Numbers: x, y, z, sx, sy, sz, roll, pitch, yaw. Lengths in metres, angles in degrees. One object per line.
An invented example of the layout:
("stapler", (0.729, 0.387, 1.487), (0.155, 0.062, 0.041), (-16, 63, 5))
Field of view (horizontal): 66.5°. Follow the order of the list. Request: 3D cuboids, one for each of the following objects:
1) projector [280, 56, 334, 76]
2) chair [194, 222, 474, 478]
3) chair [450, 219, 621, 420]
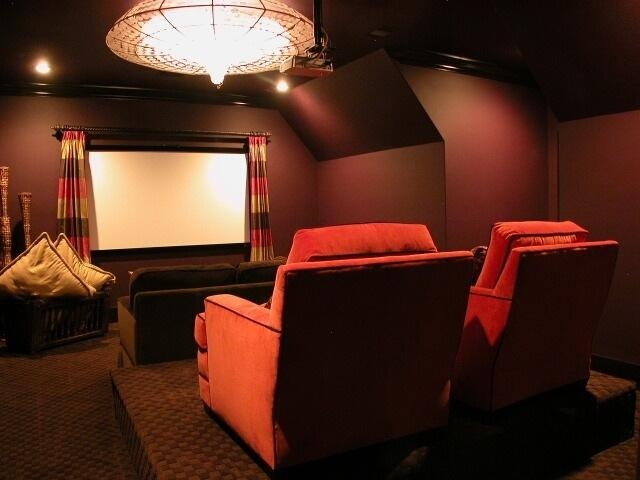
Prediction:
("projector", (-0.115, -1.334, 3.755), (0.306, 0.076, 0.296), (2, -3, -32))
("chair", (-0.007, 0.493, 2.725), (1.079, 1.119, 1.190), (-1, 1, -29))
("chair", (1.227, 0.419, 3.256), (0.988, 1.243, 1.036), (0, -1, -27))
